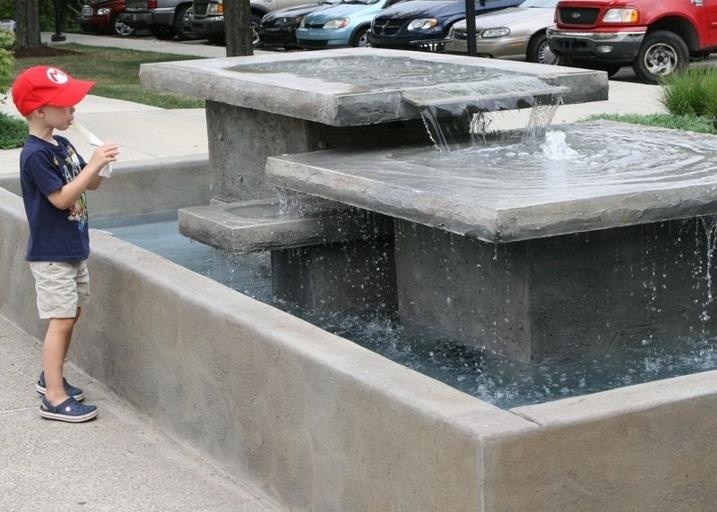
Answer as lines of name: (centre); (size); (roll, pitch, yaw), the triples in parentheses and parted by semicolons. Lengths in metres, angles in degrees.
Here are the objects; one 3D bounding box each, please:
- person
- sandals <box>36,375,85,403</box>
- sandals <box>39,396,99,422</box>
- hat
person: (-1.557, -0.052, 4.740); (0.497, 1.733, 0.598); (4, 14, -24)
sandals: (-1.605, 0.690, 4.980); (0.334, 0.121, 0.118); (9, 10, 18)
sandals: (-1.496, 0.778, 4.763); (0.279, 0.091, 0.122); (1, 1, -5)
hat: (-1.534, -0.845, 4.666); (0.459, 0.198, 0.260); (-3, 33, 21)
